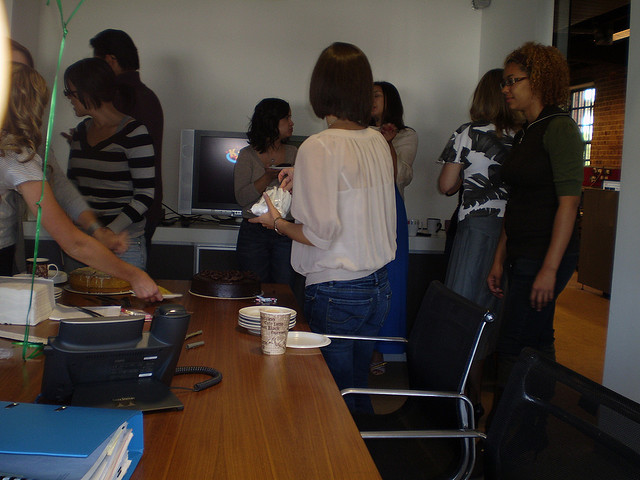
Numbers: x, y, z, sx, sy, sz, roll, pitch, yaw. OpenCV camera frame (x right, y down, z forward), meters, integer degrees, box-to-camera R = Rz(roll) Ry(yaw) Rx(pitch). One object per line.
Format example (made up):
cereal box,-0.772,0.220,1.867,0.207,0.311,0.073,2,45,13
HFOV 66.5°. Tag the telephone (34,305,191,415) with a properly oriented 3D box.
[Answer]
telephone,-0.424,0.247,1.022,0.277,0.224,0.163,2,7,-33

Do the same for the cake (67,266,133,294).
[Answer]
cake,-0.837,0.153,1.855,0.203,0.072,0.167,4,0,-14

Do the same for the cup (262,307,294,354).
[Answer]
cup,-0.128,0.262,1.379,0.103,0.118,0.103,-4,-7,-1

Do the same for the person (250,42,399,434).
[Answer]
person,0.029,0.124,1.982,0.520,1.680,0.532,10,20,30

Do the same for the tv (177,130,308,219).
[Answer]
tv,-0.539,-0.462,3.552,0.915,0.670,0.256,7,6,25
